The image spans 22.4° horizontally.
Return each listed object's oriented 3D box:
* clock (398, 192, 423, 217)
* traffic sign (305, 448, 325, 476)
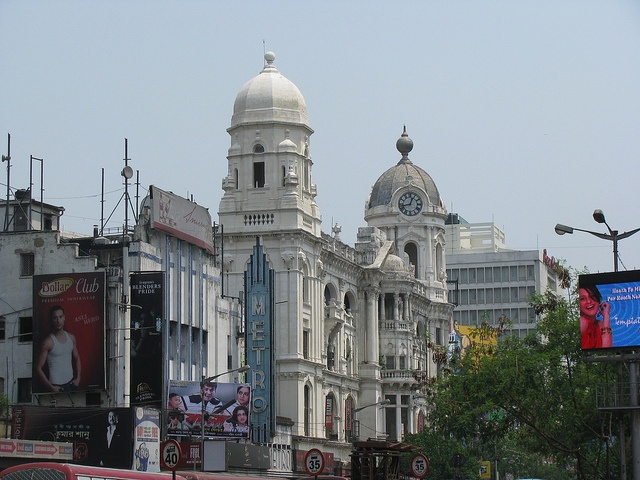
[{"bbox_3d":[8.395,-3.348,150.965,1.901,2.275,0.209,1,-5,9],"label":"clock"},{"bbox_3d":[-0.330,11.358,83.248,0.877,1.659,1.670,1,-17,-3],"label":"traffic sign"}]
